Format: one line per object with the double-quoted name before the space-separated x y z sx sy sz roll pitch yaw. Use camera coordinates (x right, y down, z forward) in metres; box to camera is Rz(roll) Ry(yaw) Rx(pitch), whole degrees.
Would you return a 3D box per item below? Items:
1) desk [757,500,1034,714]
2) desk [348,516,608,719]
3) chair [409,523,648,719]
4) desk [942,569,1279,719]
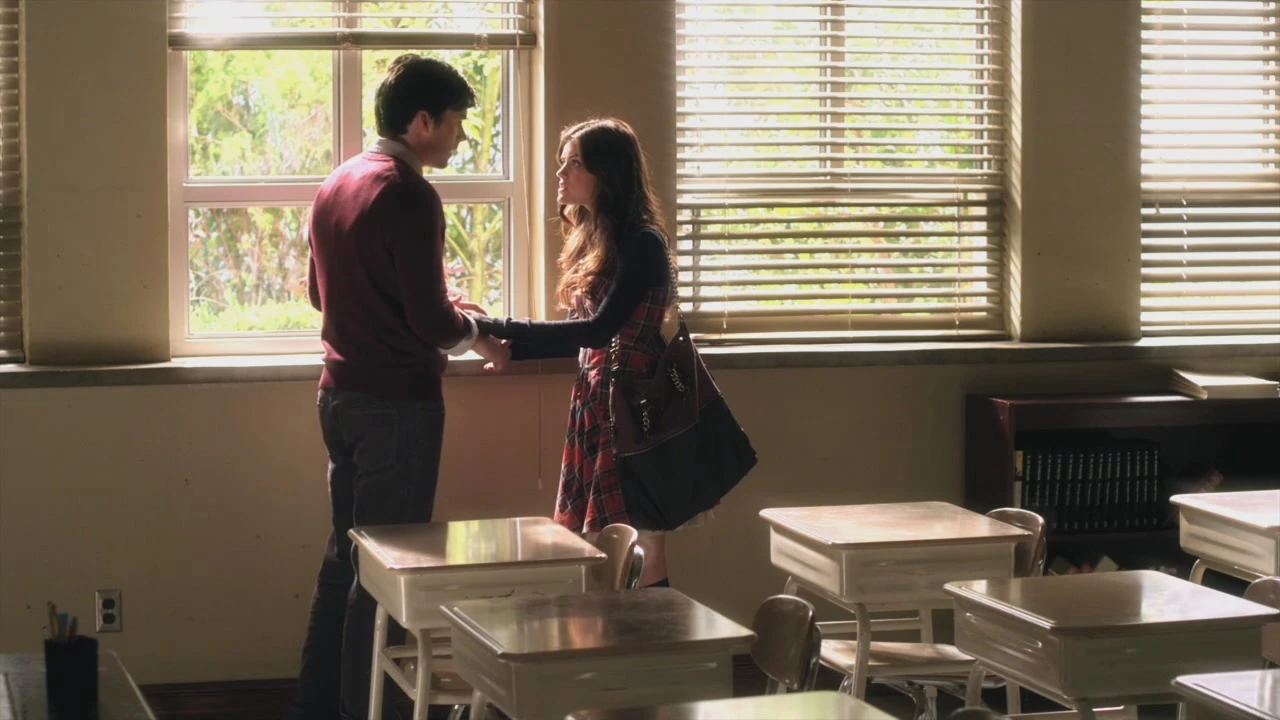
"desk" 0.948 0.762 5.035 0.914 0.867 0.951 -4 7 -15
"desk" -0.662 0.788 4.722 0.886 0.781 0.798 -1 3 -25
"chair" -0.474 0.841 4.756 0.852 0.719 0.695 -1 3 -23
"desk" 1.582 0.903 4.234 0.665 0.290 0.612 -5 7 -14
